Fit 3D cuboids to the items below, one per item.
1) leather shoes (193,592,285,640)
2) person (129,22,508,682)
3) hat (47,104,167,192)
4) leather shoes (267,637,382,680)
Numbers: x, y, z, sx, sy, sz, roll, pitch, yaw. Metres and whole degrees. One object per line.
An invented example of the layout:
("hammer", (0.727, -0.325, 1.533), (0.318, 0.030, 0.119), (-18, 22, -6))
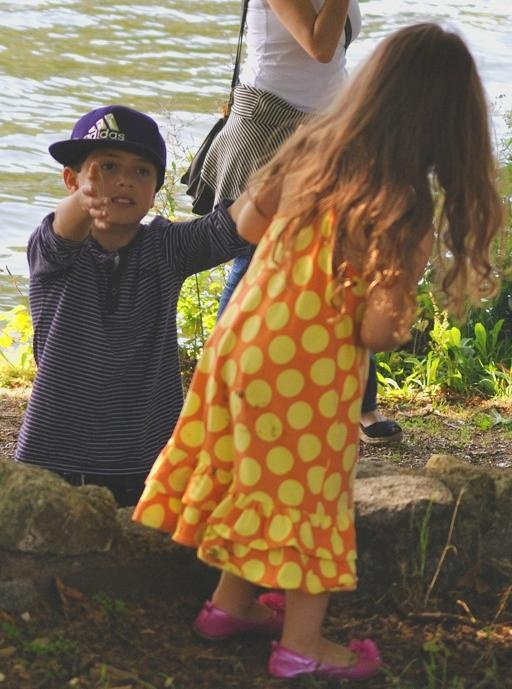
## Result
("leather shoes", (-0.010, 0.669, 2.101), (0.252, 0.083, 0.083), (-4, 36, -36))
("person", (0.162, -0.097, 1.901), (0.613, 1.236, 0.471), (14, 17, 18))
("hat", (-0.352, -0.508, 2.207), (0.281, 0.118, 0.161), (20, 21, 5))
("leather shoes", (0.172, 0.721, 1.975), (0.296, 0.087, 0.094), (-1, 5, -16))
